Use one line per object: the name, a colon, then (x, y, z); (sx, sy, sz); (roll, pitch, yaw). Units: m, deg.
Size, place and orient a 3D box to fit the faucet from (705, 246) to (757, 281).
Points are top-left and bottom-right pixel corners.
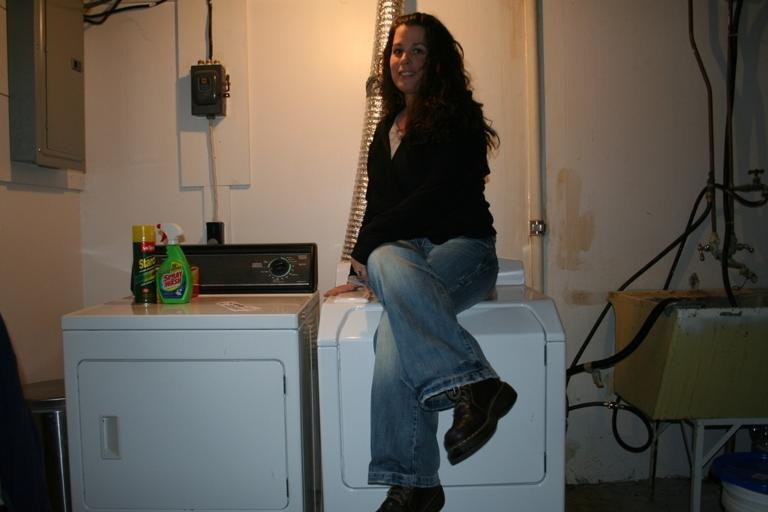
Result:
faucet: (1.943, 0.055, 3.670); (0.318, 0.206, 0.205); (-1, 4, 17)
